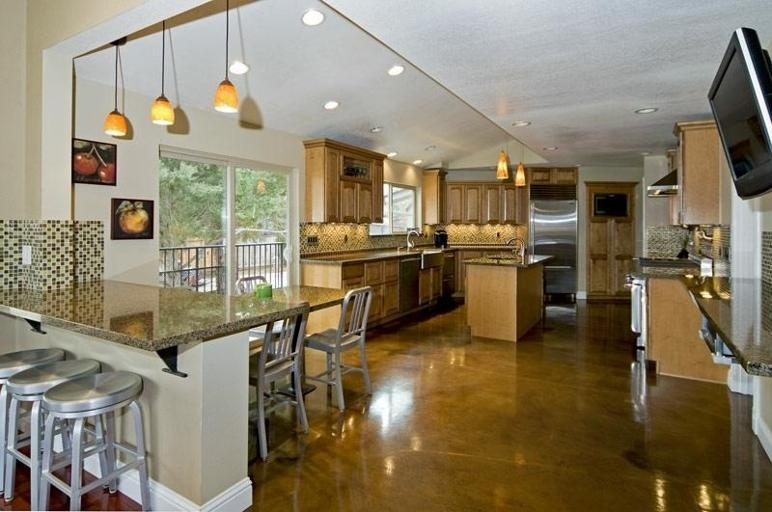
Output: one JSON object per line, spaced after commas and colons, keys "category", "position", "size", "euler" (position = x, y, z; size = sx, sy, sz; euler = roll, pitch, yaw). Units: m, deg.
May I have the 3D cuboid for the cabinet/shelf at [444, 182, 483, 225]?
{"category": "cabinet/shelf", "position": [1.487, -1.043, 10.456], "size": [0.845, 0.905, 0.360], "euler": [0, 2, -2]}

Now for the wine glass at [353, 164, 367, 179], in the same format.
{"category": "wine glass", "position": [-0.406, -1.246, 8.000], "size": [0.124, 0.133, 0.473], "euler": [17, 15, 12]}

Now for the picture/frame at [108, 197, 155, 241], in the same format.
{"category": "picture/frame", "position": [-2.591, -0.379, 5.493], "size": [0.049, 0.421, 0.472], "euler": [4, 5, 39]}

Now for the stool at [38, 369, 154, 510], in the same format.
{"category": "stool", "position": [-2.053, 1.316, 3.810], "size": [0.733, 0.949, 0.782], "euler": [-5, 15, -17]}

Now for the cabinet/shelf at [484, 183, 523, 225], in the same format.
{"category": "cabinet/shelf", "position": [2.221, -1.018, 10.402], "size": [0.843, 0.754, 0.284], "euler": [0, 0, 10]}

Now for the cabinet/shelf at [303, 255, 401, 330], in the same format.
{"category": "cabinet/shelf", "position": [-0.467, 0.439, 6.742], "size": [0.392, 0.578, 1.102], "euler": [-2, 0, 26]}

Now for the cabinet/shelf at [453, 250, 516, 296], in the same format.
{"category": "cabinet/shelf", "position": [1.377, 0.258, 7.901], "size": [0.896, 0.769, 0.309], "euler": [1, -2, -29]}

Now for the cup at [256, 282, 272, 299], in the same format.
{"category": "cup", "position": [-1.051, 0.294, 4.708], "size": [0.129, 0.090, 0.125], "euler": [2, 13, -1]}

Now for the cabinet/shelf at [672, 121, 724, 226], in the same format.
{"category": "cabinet/shelf", "position": [3.489, -0.936, 6.091], "size": [0.425, 1.134, 1.259], "euler": [1, 2, 23]}

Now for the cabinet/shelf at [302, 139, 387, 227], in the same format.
{"category": "cabinet/shelf", "position": [-0.641, -1.055, 7.668], "size": [0.411, 0.992, 1.398], "euler": [0, 0, 29]}
